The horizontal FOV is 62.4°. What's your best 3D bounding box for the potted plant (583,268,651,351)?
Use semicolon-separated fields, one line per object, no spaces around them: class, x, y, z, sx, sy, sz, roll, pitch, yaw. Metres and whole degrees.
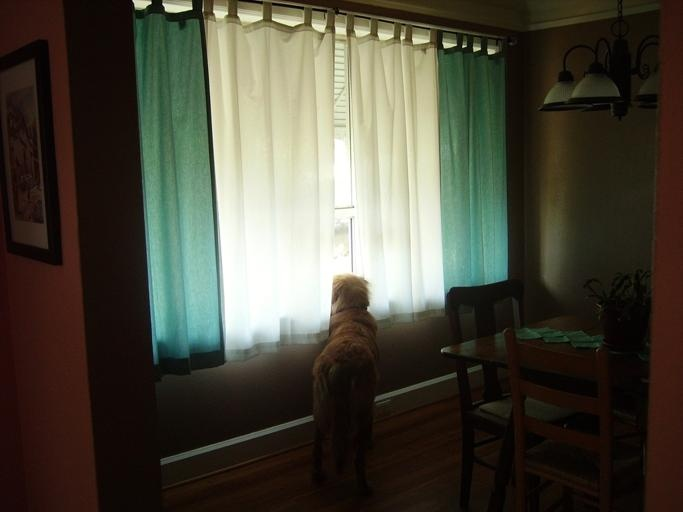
potted plant;1.430;0.273;2.915;0.375;0.429;0.409;1;8;43
